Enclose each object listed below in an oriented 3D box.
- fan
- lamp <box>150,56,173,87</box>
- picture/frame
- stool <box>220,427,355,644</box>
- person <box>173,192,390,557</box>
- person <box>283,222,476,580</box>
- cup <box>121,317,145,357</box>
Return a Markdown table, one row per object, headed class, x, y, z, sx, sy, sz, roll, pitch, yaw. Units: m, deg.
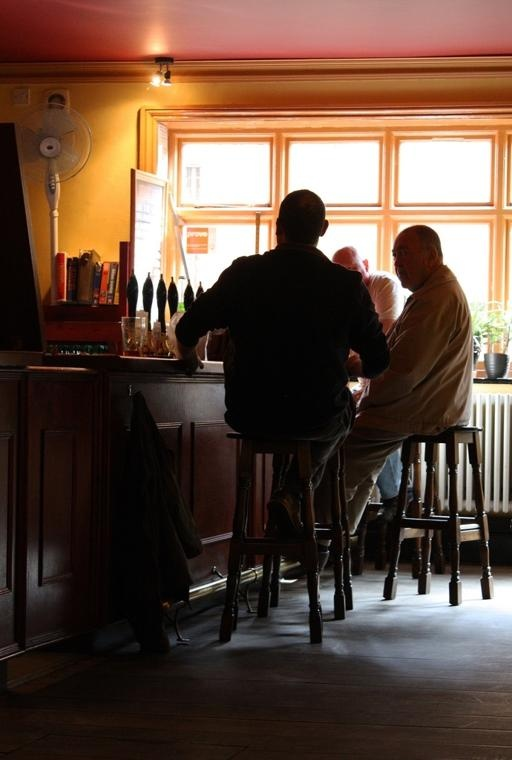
| class | x | y | z | sx | sy | sz | roll | pitch | yaw |
| --- | --- | --- | --- | --- | --- | --- | --- | --- | --- |
| fan | -1.256 | -1.206 | 4.339 | 0.428 | 1.261 | 0.183 | 1 | 1 | 17 |
| lamp | -0.598 | -2.076 | 4.383 | 0.141 | 0.214 | 0.321 | 1 | 2 | -10 |
| picture/frame | -0.683 | -1.022 | 4.394 | 0.130 | 0.748 | 0.471 | 1 | 2 | 15 |
| stool | 0.083 | 0.435 | 2.165 | 0.227 | 0.625 | 0.602 | 1 | 2 | 7 |
| person | 0.061 | -0.070 | 2.121 | 0.517 | 1.092 | 0.475 | 8 | 9 | 24 |
| person | 0.522 | 0.014 | 2.873 | 0.577 | 1.427 | 0.491 | 7 | 5 | 9 |
| cup | -0.409 | -0.172 | 2.290 | 0.093 | 0.193 | 0.104 | 0 | 1 | -12 |
